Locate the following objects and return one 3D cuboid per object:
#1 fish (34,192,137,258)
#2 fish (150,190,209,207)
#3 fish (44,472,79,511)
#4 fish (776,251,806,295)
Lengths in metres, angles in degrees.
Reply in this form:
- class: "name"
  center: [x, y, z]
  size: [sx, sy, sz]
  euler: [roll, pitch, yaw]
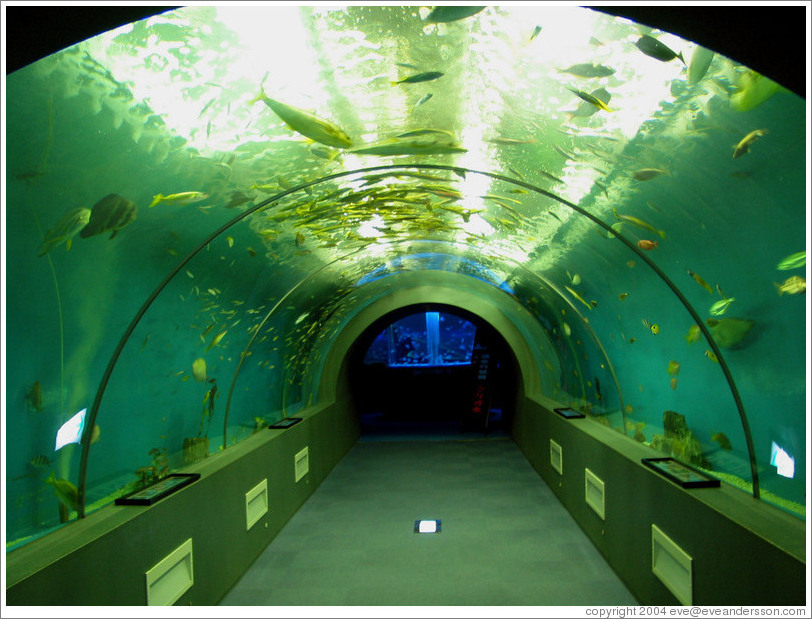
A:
- class: "fish"
  center: [-1.575, -0.454, 2.952]
  size: [0.172, 0.235, 0.565]
  euler: [24, 30, 24]
- class: "fish"
  center: [-1.336, -0.645, 3.302]
  size: [0.083, 0.092, 0.352]
  euler: [21, 18, 26]
- class: "fish"
  center: [-1.977, 1.050, 3.232]
  size: [0.109, 0.224, 0.064]
  euler: [-34, 35, 12]
- class: "fish"
  center: [1.950, -0.177, 2.795]
  size: [0.045, 0.166, 0.177]
  euler: [-5, 9, -9]
